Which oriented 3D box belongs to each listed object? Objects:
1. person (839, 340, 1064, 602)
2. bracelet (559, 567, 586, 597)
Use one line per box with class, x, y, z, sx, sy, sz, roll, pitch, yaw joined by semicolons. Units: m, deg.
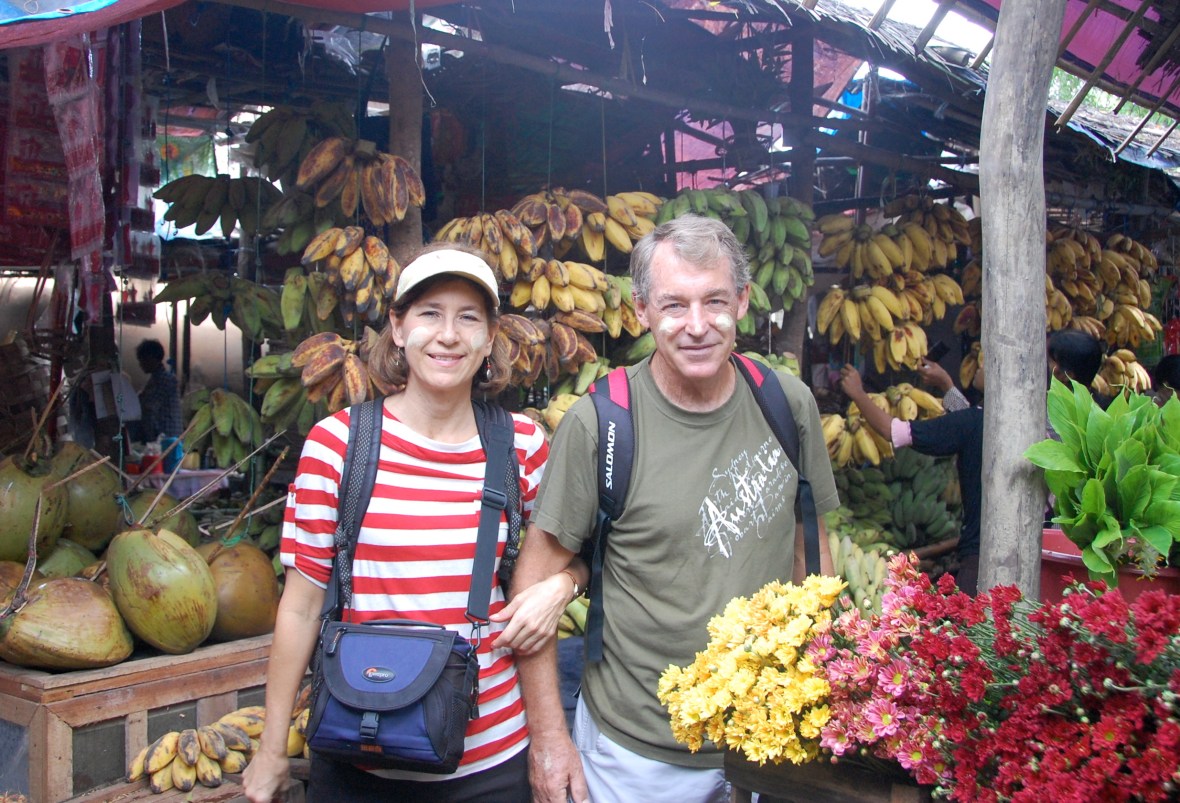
person;1.970;0.282;5.404;0.728;1.713;1.073;-14;16;-28
bracelet;-0.063;0.644;3.507;0.096;0.079;0.042;-1;4;-9
